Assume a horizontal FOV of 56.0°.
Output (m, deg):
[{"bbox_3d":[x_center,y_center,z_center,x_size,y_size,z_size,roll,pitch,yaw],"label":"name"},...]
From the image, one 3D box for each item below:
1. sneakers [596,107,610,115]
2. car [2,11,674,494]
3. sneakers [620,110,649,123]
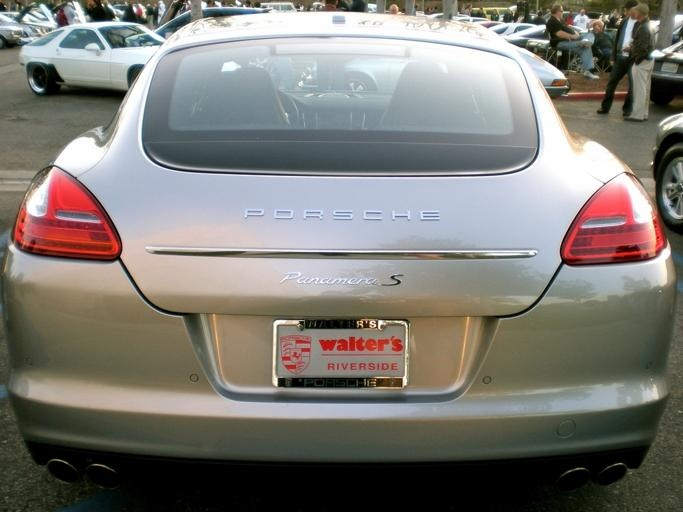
[{"bbox_3d":[5.552,-3.059,13.594,0.118,0.146,0.347,0,34,-1],"label":"sneakers"},{"bbox_3d":[-0.025,-0.322,3.132,1.548,1.173,2.602,1,14,0],"label":"car"},{"bbox_3d":[5.840,-2.747,12.654,0.628,0.267,0.209,-9,27,-15],"label":"sneakers"}]
